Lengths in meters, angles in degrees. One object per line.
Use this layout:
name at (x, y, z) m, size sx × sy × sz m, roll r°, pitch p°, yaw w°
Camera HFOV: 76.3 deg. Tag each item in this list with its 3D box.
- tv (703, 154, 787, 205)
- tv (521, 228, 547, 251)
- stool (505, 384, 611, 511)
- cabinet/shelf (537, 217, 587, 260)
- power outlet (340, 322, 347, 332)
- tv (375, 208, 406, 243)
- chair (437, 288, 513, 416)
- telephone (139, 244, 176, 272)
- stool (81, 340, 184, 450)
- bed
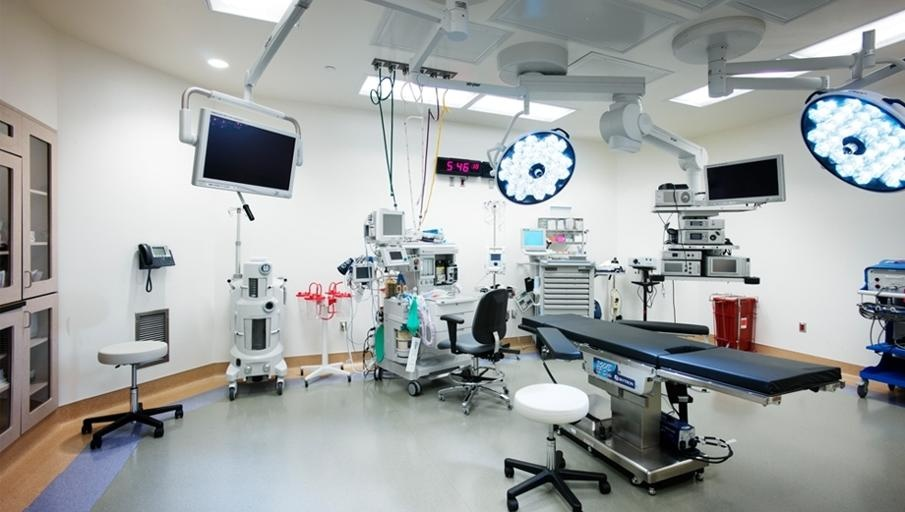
tv at (3.447, -0.869, 6.766) m, size 0.935 × 0.620 × 0.107 m, roll -2°, pitch 2°, yaw 27°
tv at (1.273, -0.250, 8.985) m, size 0.413 × 0.309 × 0.363 m, roll 1°, pitch 15°, yaw 2°
stool at (0.995, 1.903, 6.128) m, size 1.250 × 1.046 × 1.233 m, roll 3°, pitch 6°, yaw 20°
cabinet/shelf at (1.782, -0.297, 9.224) m, size 0.648 × 0.513 × 0.204 m, roll 2°, pitch 4°, yaw 11°
power outlet at (-1.576, 1.028, 8.273) m, size 0.104 × 0.131 × 0.032 m, roll -4°, pitch 16°, yaw -14°
tv at (-0.827, -0.374, 7.476) m, size 0.279 × 0.412 × 0.441 m, roll -3°, pitch -7°, yaw 41°
chair at (0.278, 1.077, 7.233) m, size 0.907 × 1.447 × 1.039 m, roll 0°, pitch 15°, yaw -1°
telephone at (-3.747, 0.011, 7.241) m, size 0.411 × 0.348 × 0.227 m, roll -9°, pitch 17°, yaw -30°
stool at (-3.734, 1.569, 6.699) m, size 1.118 × 0.921 × 1.073 m, roll -1°, pitch 1°, yaw -22°
bed at (2.145, 1.630, 6.326) m, size 1.096 × 1.343 × 3.283 m, roll 2°, pitch 1°, yaw -30°
